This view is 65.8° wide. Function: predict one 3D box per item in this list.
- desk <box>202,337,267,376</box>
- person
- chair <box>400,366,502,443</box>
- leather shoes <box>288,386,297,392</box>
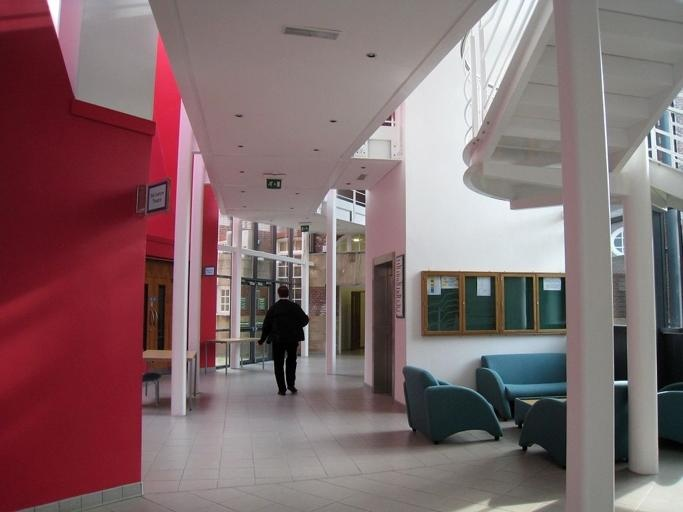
[{"bbox_3d":[-2.803,2.666,14.487,0.547,0.730,1.393,5,0,35],"label":"desk"},{"bbox_3d":[-1.172,1.691,10.769,0.919,2.184,0.951,-1,-8,-6],"label":"person"},{"bbox_3d":[1.532,2.056,7.652,1.214,1.012,1.294,-2,-6,4],"label":"chair"},{"bbox_3d":[-1.008,2.717,10.805,0.173,0.136,0.097,-1,-1,-5],"label":"leather shoes"}]
